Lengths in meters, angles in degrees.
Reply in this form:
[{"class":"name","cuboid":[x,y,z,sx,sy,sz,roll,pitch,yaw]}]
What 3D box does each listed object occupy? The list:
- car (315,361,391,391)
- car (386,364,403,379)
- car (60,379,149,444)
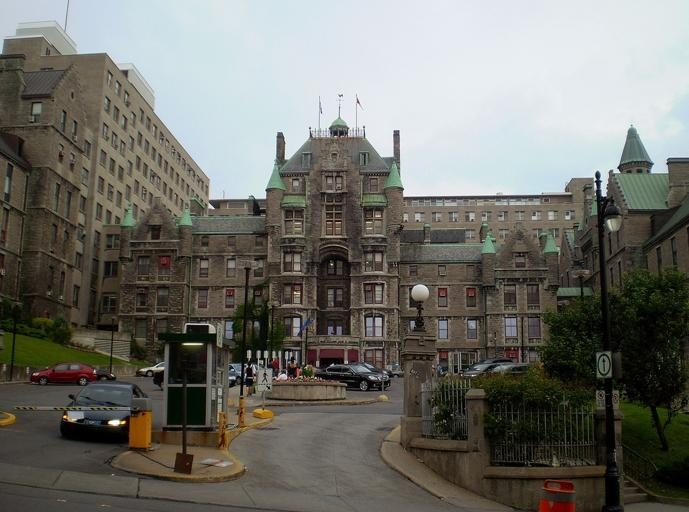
[{"class":"car","cuboid":[0.483,8.245,54.337,4.780,1.547,2.009,-3,-9,21]},{"class":"car","cuboid":[4.551,10.554,72.287,1.260,1.044,2.067,6,-15,-42]},{"class":"car","cuboid":[-8.968,5.659,28.868,2.465,2.051,2.182,4,-14,-13]}]
